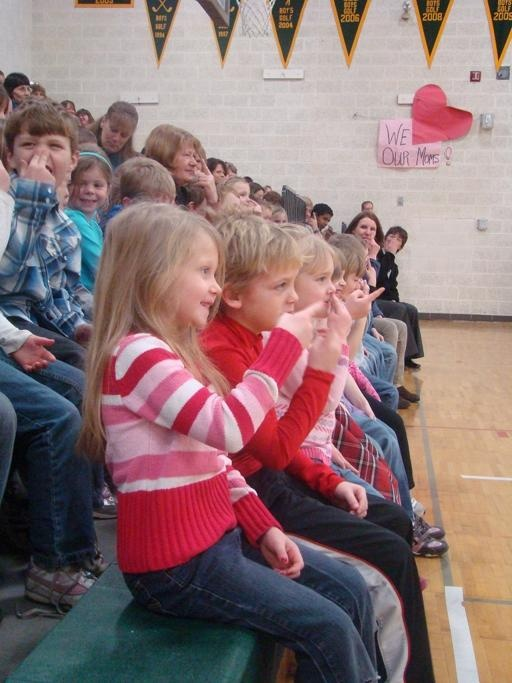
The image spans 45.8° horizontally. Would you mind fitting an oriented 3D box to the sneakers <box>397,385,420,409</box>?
[{"bbox_3d":[0.986,0.356,3.972,0.106,0.130,0.323,1,6,20],"label":"sneakers"}]
